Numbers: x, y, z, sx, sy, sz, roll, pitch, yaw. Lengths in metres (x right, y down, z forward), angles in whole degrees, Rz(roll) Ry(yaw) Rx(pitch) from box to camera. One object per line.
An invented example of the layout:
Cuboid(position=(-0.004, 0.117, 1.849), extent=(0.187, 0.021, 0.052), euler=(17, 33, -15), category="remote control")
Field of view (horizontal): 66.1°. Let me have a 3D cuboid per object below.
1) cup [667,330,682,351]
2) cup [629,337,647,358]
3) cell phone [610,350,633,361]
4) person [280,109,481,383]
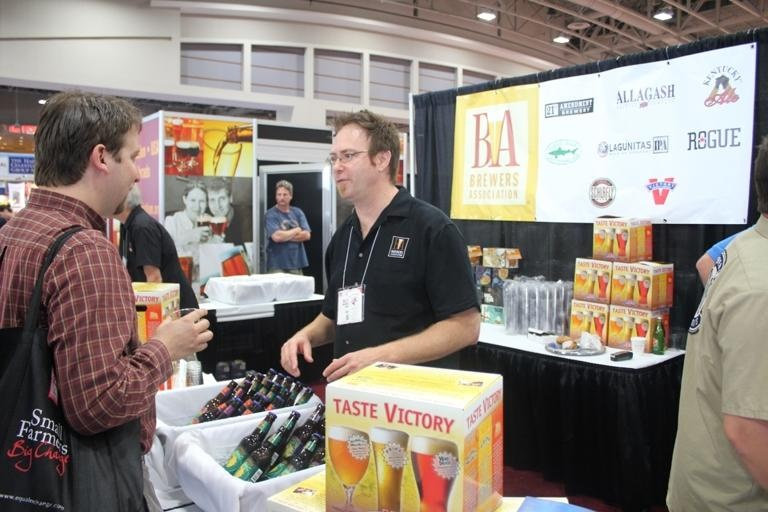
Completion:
Cuboid(position=(1.868, 0.533, 3.765), extent=(0.098, 0.108, 0.101), euler=(2, -4, 0), category="cup")
Cuboid(position=(1.578, 0.565, 3.664), extent=(0.103, 0.114, 0.104), euler=(1, 3, 0), category="cup")
Cuboid(position=(1.443, 0.601, 3.603), extent=(0.116, 0.043, 0.060), euler=(-1, 5, -32), category="cell phone")
Cuboid(position=(-0.013, -0.090, 2.510), extent=(0.798, 1.135, 0.682), euler=(1, 6, 18), category="person")
